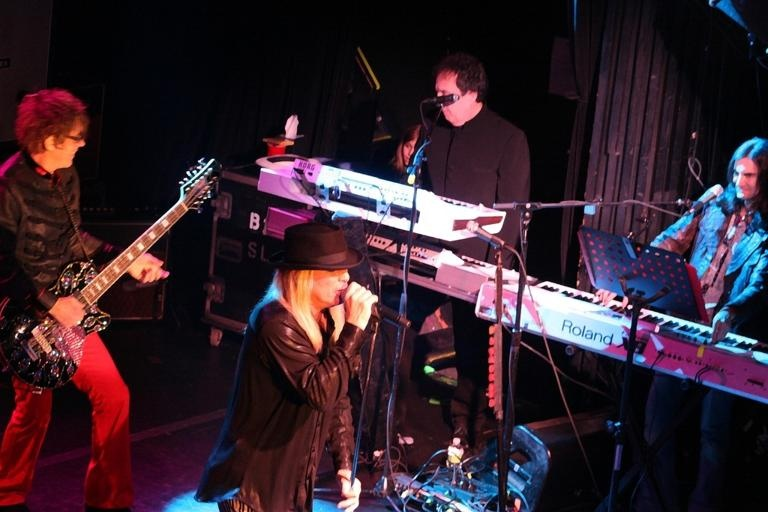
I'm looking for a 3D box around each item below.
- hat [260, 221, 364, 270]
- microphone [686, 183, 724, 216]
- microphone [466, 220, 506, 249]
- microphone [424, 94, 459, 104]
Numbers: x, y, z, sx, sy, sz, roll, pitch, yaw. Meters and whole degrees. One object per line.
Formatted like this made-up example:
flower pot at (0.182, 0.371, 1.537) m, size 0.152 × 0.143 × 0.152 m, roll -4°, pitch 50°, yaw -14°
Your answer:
hat at (-0.324, -0.046, 2.884) m, size 0.315 × 0.127 × 0.271 m, roll -3°, pitch 11°, yaw 0°
microphone at (2.201, -0.392, 4.062) m, size 0.405 × 0.097 × 0.101 m, roll -36°, pitch 41°, yaw -22°
microphone at (0.707, -0.162, 4.113) m, size 0.257 × 0.087 × 0.083 m, roll 37°, pitch -10°, yaw 13°
microphone at (0.384, -1.015, 3.848) m, size 0.149 × 0.051 × 0.114 m, roll -5°, pitch 6°, yaw -14°
